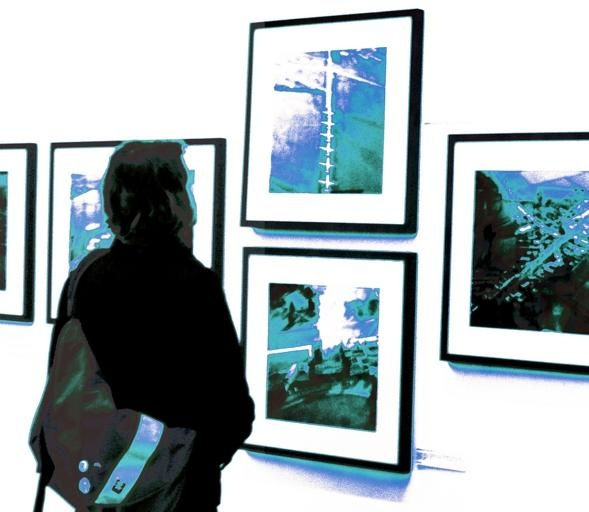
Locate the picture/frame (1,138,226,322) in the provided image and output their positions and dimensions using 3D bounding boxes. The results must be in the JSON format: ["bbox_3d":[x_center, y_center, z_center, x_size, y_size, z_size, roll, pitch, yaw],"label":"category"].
[{"bbox_3d":[-0.520,-0.082,2.300,0.686,0.429,0.014,0,0,22],"label":"picture/frame"}]
